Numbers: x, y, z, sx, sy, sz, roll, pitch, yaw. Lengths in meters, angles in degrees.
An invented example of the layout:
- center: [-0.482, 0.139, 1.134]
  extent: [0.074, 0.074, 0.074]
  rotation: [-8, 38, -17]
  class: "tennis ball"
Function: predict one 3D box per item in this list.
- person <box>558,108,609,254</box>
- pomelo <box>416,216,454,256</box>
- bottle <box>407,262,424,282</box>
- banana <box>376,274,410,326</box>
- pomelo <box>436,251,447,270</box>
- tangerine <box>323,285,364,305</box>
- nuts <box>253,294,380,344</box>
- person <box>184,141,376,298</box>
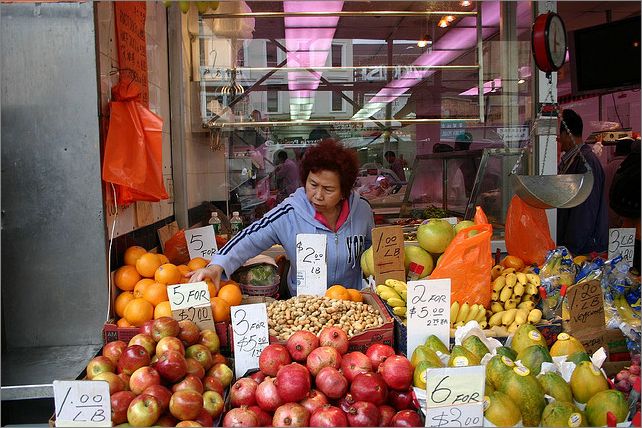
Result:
- center: [2.398, -0.194, 4.690]
  extent: [0.392, 1.415, 0.613]
  rotation: [-2, 18, -2]
  class: "person"
- center: [0.728, 0.122, 3.090]
  extent: [0.163, 0.212, 0.216]
  rotation: [-4, 15, -21]
  class: "pomelo"
- center: [0.577, 0.353, 3.051]
  extent: [0.077, 0.121, 0.114]
  rotation: [11, -2, 15]
  class: "bottle"
- center: [0.417, 0.473, 2.808]
  extent: [0.137, 0.202, 0.146]
  rotation: [-2, 13, -3]
  class: "banana"
- center: [0.707, 0.272, 2.890]
  extent: [0.069, 0.048, 0.089]
  rotation: [-42, 16, 47]
  class: "pomelo"
- center: [0.124, 0.431, 2.839]
  extent: [0.120, 0.139, 0.130]
  rotation: [-2, 1, 32]
  class: "tangerine"
- center: [-0.035, 0.481, 2.713]
  extent: [0.520, 0.198, 0.490]
  rotation: [-6, 11, -28]
  class: "nuts"
- center: [-0.259, 0.004, 3.551]
  extent: [0.960, 1.137, 1.046]
  rotation: [-3, 18, -18]
  class: "person"
